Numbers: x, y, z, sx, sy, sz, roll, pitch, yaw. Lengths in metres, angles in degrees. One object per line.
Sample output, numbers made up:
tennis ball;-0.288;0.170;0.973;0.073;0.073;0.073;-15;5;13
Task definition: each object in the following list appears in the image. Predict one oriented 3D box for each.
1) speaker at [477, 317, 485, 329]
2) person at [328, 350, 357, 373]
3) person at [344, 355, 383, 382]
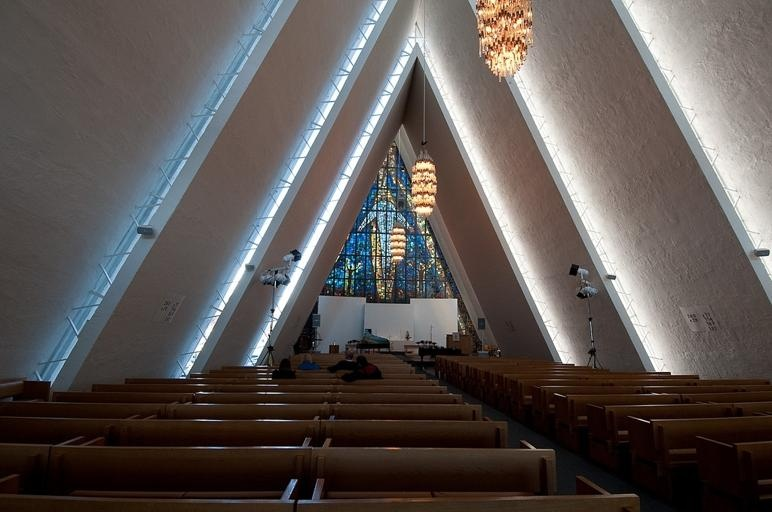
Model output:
speaker;4.284;2.998;25.836;0.198;0.519;0.768;6;-14;-17
person;-0.956;2.217;12.256;0.425;0.415;0.731;-1;-2;-18
person;-0.457;2.171;11.170;0.796;0.327;0.877;2;-5;1
